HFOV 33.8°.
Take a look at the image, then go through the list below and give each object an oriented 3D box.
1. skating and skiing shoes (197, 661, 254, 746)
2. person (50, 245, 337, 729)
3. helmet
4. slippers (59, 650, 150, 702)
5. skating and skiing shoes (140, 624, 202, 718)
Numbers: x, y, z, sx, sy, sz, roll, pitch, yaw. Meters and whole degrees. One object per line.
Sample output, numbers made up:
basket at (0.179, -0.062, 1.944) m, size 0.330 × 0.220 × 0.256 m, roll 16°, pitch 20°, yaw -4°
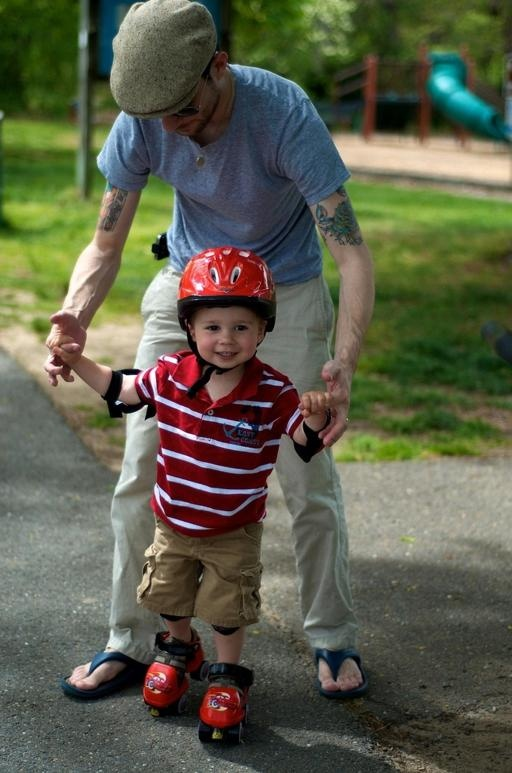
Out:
skating and skiing shoes at (-0.084, 0.803, 2.210) m, size 0.106 × 0.144 × 0.329 m, roll 6°, pitch 6°, yaw 1°
person at (-0.097, 0.277, 2.077) m, size 0.758 × 1.122 × 0.415 m, roll 2°, pitch 1°, yaw 38°
helmet at (-0.067, -0.240, 2.019) m, size 0.231 × 0.175 × 0.146 m, roll 2°, pitch 13°, yaw -4°
slippers at (-0.413, 0.805, 2.324) m, size 0.091 × 0.081 × 0.244 m, roll 2°, pitch 1°, yaw 39°
skating and skiing shoes at (-0.220, 0.754, 2.283) m, size 0.105 × 0.167 × 0.291 m, roll 5°, pitch 16°, yaw 14°
